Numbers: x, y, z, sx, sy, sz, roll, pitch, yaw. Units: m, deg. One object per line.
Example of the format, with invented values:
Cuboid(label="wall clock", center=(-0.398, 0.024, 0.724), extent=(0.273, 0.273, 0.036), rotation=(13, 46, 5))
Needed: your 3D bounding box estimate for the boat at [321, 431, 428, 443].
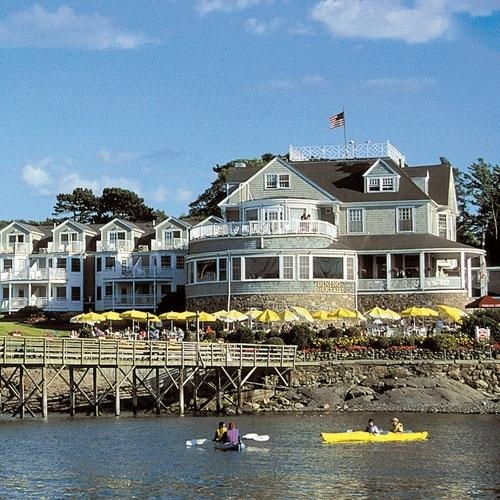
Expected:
Cuboid(label="boat", center=(5.704, 8.697, 56.691), extent=(4.793, 0.503, 0.748), rotation=(0, -7, -5))

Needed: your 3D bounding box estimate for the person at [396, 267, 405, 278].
Cuboid(label="person", center=(10.363, 1.633, 84.258), extent=(0.568, 0.881, 1.434), rotation=(-2, -7, 7))

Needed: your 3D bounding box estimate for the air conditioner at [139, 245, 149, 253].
Cuboid(label="air conditioner", center=(-8.901, -0.010, 104.327), extent=(0.901, 0.818, 1.817), rotation=(0, -7, -6))
